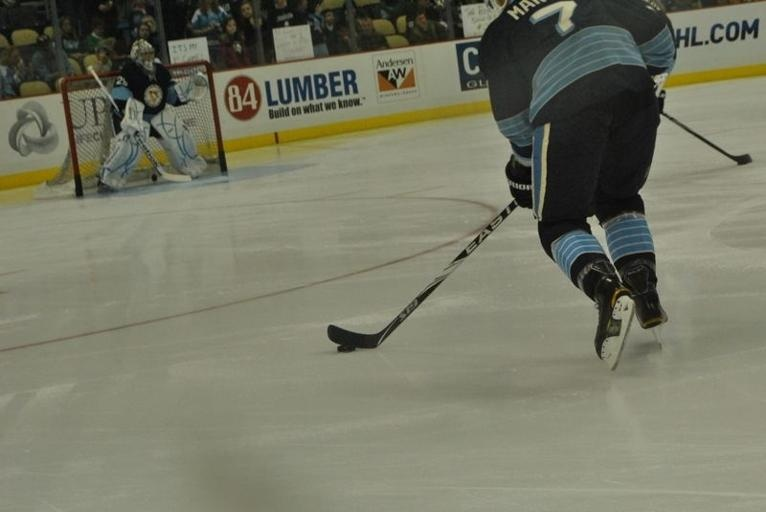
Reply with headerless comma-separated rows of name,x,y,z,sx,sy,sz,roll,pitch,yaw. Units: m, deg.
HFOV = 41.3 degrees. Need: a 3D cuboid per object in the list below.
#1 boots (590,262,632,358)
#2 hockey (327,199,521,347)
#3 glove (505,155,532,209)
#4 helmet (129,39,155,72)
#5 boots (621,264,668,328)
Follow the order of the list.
boots,1.016,0.257,4.475,0.177,0.460,0.216,-4,17,14
hockey,0.236,0.107,5.671,1.111,0.161,0.160,-38,-4,-5
glove,0.646,-0.359,4.788,0.169,0.222,0.203,6,4,19
helmet,-2.339,-2.010,10.134,0.189,0.324,0.299,4,20,35
boots,1.146,0.163,4.541,0.128,0.161,0.356,-17,52,17
